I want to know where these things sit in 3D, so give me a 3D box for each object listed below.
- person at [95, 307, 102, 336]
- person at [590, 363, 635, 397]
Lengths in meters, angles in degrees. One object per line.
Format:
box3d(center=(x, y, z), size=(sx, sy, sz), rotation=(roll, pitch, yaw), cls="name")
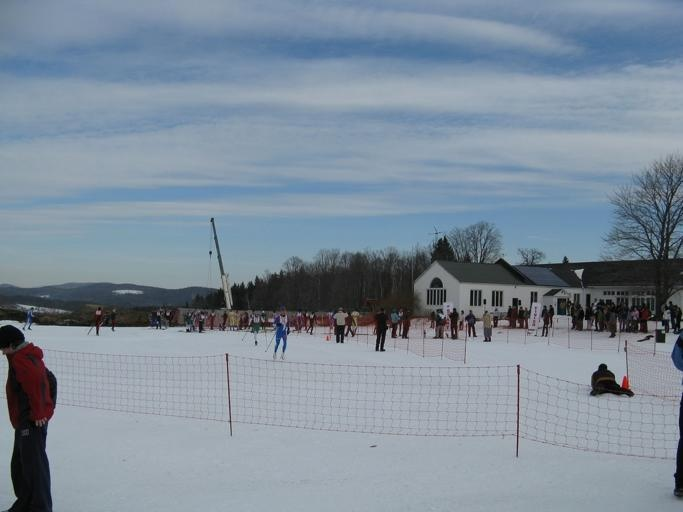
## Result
box3d(center=(-13.115, 3.641, 41.901), size=(0.324, 1.496, 2.725), rotation=(1, 0, -18), cls="person")
box3d(center=(6.649, 3.181, 19.386), size=(1.049, 0.619, 1.547), rotation=(1, 8, 10), cls="person")
